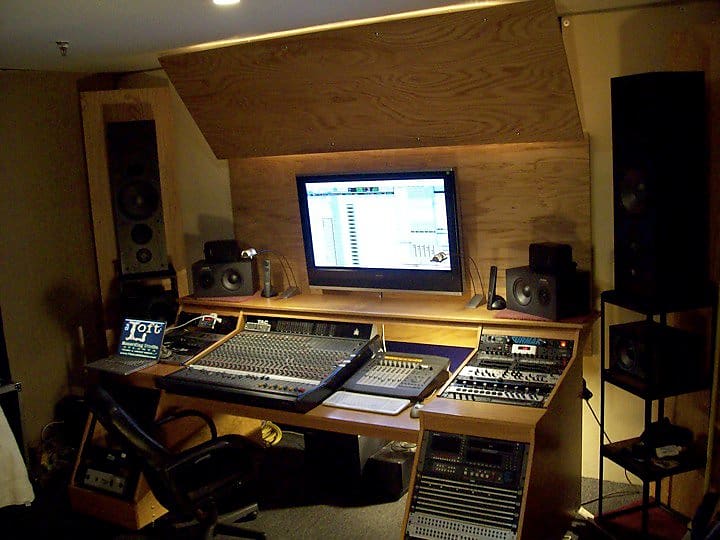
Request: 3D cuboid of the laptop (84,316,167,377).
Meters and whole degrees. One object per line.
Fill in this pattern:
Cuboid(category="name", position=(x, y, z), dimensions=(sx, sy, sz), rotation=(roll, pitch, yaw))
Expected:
Cuboid(category="laptop", position=(-1.219, 0.404, 3.026), dimensions=(0.299, 0.245, 0.351), rotation=(2, 7, 37))

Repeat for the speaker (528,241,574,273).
Cuboid(category="speaker", position=(0.931, -0.060, 2.763), dimensions=(0.138, 0.161, 0.249), rotation=(-5, 6, -33))

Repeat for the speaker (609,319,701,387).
Cuboid(category="speaker", position=(1.388, 0.394, 2.700), dimensions=(0.221, 0.240, 0.396), rotation=(-1, 0, -4))

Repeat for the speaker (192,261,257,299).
Cuboid(category="speaker", position=(-0.805, 0.053, 3.416), dimensions=(0.366, 0.212, 0.196), rotation=(-1, 8, 13))

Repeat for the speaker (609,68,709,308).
Cuboid(category="speaker", position=(1.341, -0.379, 2.520), dimensions=(0.313, 0.893, 0.257), rotation=(-7, 9, -10))

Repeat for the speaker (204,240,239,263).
Cuboid(category="speaker", position=(-0.828, -0.106, 3.364), dimensions=(0.224, 0.139, 0.125), rotation=(0, 1, -1))

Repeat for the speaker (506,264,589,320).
Cuboid(category="speaker", position=(0.907, 0.106, 2.798), dimensions=(0.211, 0.214, 0.356), rotation=(-5, 8, -23))
